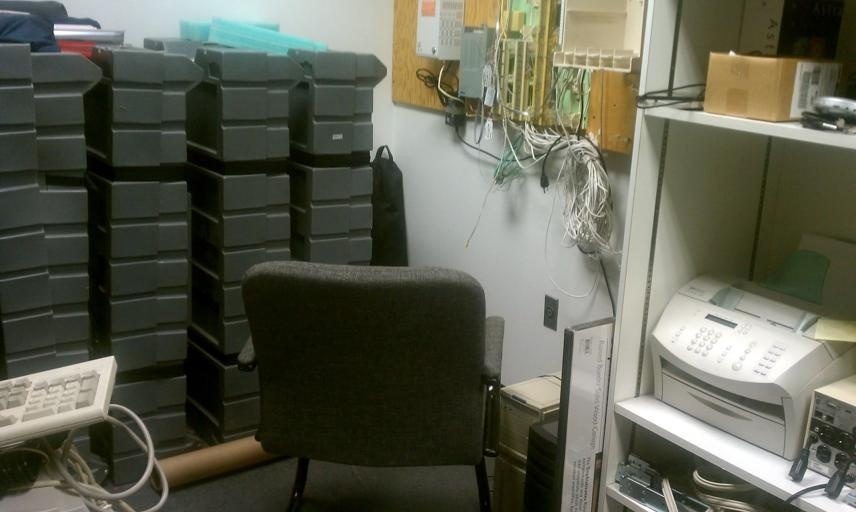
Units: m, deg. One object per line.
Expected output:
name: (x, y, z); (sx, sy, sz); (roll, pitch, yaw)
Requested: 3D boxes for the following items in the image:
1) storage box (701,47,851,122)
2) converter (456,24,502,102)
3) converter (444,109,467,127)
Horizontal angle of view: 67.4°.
storage box: (1.083, -0.537, 2.092); (0.362, 0.231, 0.435); (-11, 20, -44)
converter: (0.256, -0.941, 3.188); (0.229, 0.330, 0.226); (5, 18, 14)
converter: (0.144, -0.725, 3.388); (0.089, 0.065, 0.090); (7, 15, 13)
